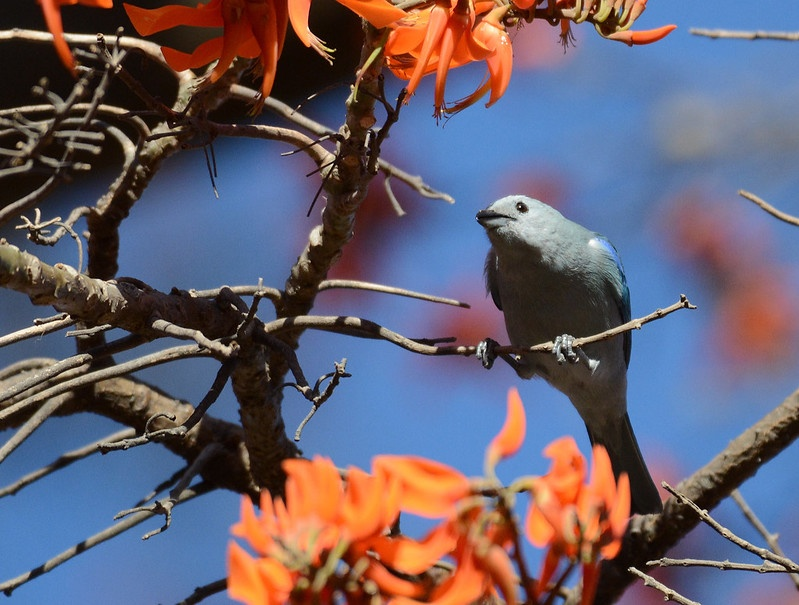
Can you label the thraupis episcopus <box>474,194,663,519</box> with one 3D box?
[{"bbox_3d":[0.525,0.147,3.519,0.361,0.518,1.029,-18,-64,34],"label":"thraupis episcopus"}]
